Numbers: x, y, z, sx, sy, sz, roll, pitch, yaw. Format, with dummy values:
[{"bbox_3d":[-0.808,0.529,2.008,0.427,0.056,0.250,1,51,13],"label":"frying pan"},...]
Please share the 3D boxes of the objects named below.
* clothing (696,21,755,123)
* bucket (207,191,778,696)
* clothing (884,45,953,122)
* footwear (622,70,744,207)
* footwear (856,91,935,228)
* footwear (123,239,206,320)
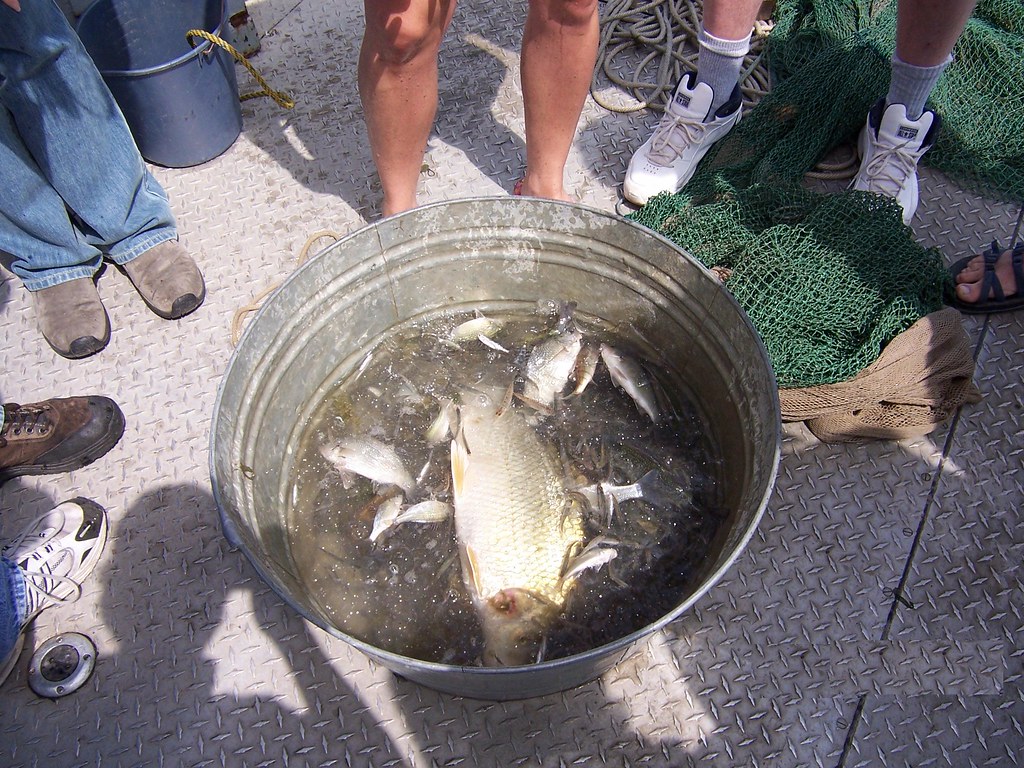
[{"bbox_3d":[0.834,-1.252,3.598,0.123,0.436,0.169,17,32,27],"label":"clothing"},{"bbox_3d":[-0.048,0.130,2.781,1.512,0.611,1.820,-4,48,6],"label":"bucket"},{"bbox_3d":[1.480,-1.094,3.438,0.187,0.316,0.241,6,72,20],"label":"clothing"},{"bbox_3d":[0.693,-1.027,3.716,0.236,0.314,0.691,31,67,36],"label":"footwear"},{"bbox_3d":[1.492,-0.869,3.530,0.321,0.252,0.339,25,77,4],"label":"footwear"},{"bbox_3d":[-1.314,-0.389,3.527,0.189,0.136,0.380,-36,78,-7],"label":"footwear"}]
